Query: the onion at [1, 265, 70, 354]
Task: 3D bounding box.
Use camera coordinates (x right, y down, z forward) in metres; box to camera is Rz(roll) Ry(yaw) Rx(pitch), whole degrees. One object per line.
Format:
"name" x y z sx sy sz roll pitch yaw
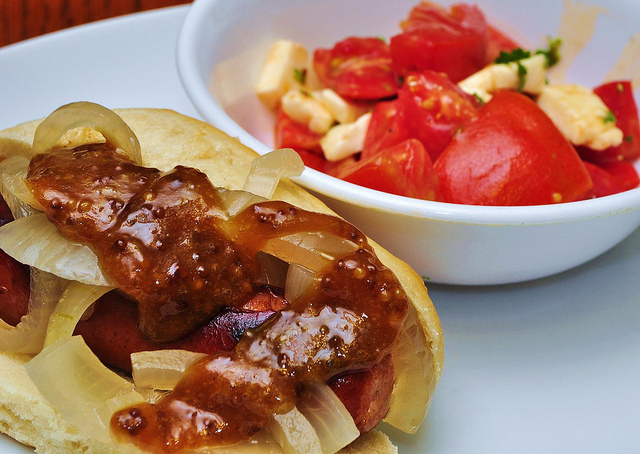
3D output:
"onion" -0.385 0.114 0.951 0.089 0.041 0.121 11 91 44

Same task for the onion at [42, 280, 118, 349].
"onion" -0.337 0.112 0.915 0.102 0.081 0.033 -29 39 -20

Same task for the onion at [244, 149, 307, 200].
"onion" -0.059 -0.076 0.999 0.085 0.033 0.065 -33 77 5

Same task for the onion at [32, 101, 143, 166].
"onion" -0.347 -0.132 1.011 0.155 0.077 0.070 3 56 -2

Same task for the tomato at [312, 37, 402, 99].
"tomato" 0.078 -0.310 1.319 0.141 0.062 0.141 1 89 4

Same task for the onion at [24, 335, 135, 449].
"onion" -0.317 0.201 0.875 0.159 0.034 0.107 47 49 4

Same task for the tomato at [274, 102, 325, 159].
"tomato" -0.050 -0.185 1.362 0.104 0.032 0.104 14 53 -7

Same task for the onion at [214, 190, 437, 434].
"onion" -0.015 0.117 0.990 0.409 0.133 0.213 43 29 11

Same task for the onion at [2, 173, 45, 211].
"onion" -0.404 -0.048 0.913 0.066 0.018 0.033 38 35 5

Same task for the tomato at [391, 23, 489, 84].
"tomato" 0.245 -0.364 1.397 0.207 0.109 0.208 -2 28 7
